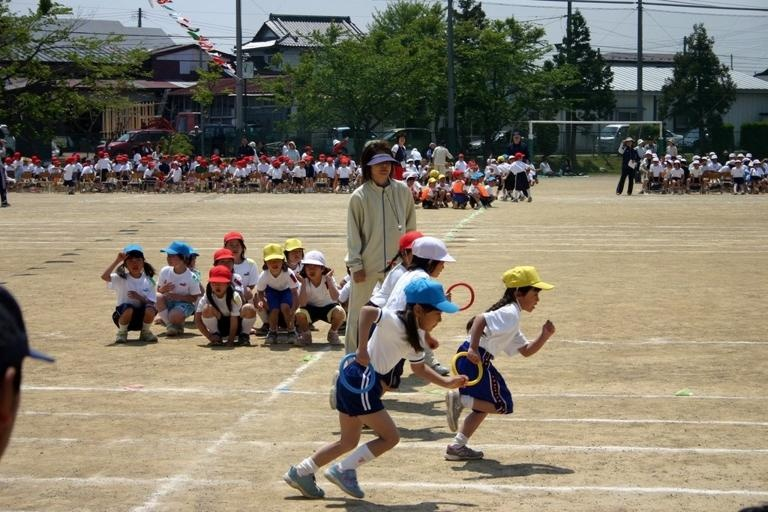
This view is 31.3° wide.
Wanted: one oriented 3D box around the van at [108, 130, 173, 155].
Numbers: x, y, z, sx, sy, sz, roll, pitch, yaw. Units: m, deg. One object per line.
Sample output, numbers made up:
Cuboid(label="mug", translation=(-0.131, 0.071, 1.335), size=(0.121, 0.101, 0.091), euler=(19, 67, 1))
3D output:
Cuboid(label="van", translation=(-10.733, -4.927, 59.926), size=(2.714, 0.980, 1.244), euler=(-9, 11, -42))

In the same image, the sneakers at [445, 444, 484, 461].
Cuboid(label="sneakers", translation=(1.116, 2.831, 19.722), size=(0.603, 0.215, 0.197), euler=(0, 0, -6))

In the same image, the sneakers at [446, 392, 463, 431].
Cuboid(label="sneakers", translation=(1.037, 2.224, 19.831), size=(0.289, 0.561, 0.210), euler=(-4, 11, 4))

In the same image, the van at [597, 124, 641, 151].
Cuboid(label="van", translation=(11.518, -6.030, 69.925), size=(1.813, 1.441, 3.245), euler=(4, 7, 43))

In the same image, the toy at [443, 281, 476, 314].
Cuboid(label="toy", translation=(1.267, 0.708, 23.026), size=(0.489, 0.428, 0.422), euler=(-16, -39, 14))

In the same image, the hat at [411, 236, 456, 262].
Cuboid(label="hat", translation=(0.704, -0.122, 19.989), size=(0.545, 0.221, 0.354), euler=(6, 7, -17))

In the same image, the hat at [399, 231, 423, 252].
Cuboid(label="hat", translation=(0.405, -0.233, 20.611), size=(0.376, 0.169, 0.244), euler=(-19, 11, -5))

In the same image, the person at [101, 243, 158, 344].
Cuboid(label="person", translation=(-4.303, 0.611, 23.208), size=(0.870, 1.583, 0.829), euler=(-1, 7, -10))

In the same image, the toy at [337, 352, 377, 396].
Cuboid(label="toy", translation=(-0.375, 1.653, 19.182), size=(0.621, 0.520, 0.570), euler=(-1, -5, -6))

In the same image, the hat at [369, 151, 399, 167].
Cuboid(label="hat", translation=(0.028, -1.496, 21.010), size=(0.520, 0.210, 0.279), euler=(-5, 8, -40))

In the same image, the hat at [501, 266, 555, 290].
Cuboid(label="hat", translation=(2.127, 0.308, 20.009), size=(0.671, 0.231, 0.384), euler=(0, 3, -2))
